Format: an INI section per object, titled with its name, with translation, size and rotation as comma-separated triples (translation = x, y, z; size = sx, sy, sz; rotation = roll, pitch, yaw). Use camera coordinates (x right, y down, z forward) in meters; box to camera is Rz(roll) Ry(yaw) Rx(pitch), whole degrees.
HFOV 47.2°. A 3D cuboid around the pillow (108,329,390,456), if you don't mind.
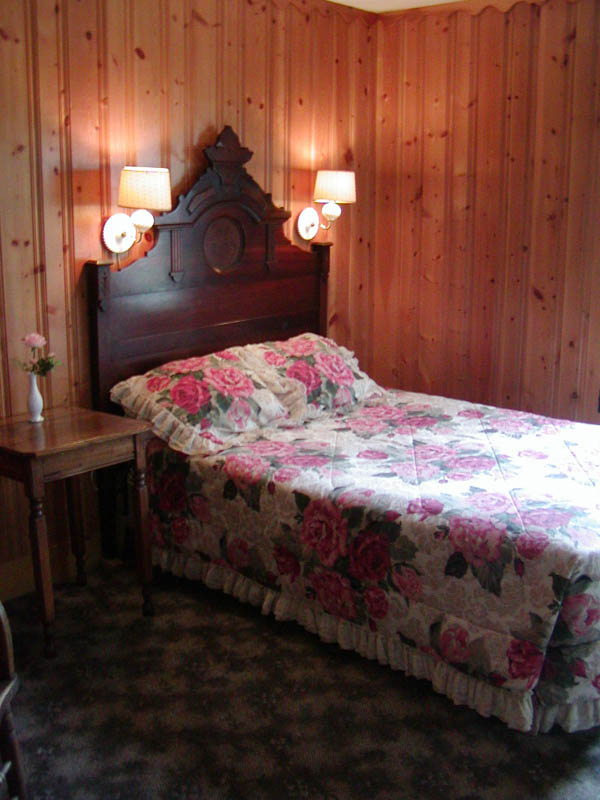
[pillow]
translation = -0.169, -0.035, 2.844
size = 0.484, 0.147, 0.891
rotation = 32, 29, 31
